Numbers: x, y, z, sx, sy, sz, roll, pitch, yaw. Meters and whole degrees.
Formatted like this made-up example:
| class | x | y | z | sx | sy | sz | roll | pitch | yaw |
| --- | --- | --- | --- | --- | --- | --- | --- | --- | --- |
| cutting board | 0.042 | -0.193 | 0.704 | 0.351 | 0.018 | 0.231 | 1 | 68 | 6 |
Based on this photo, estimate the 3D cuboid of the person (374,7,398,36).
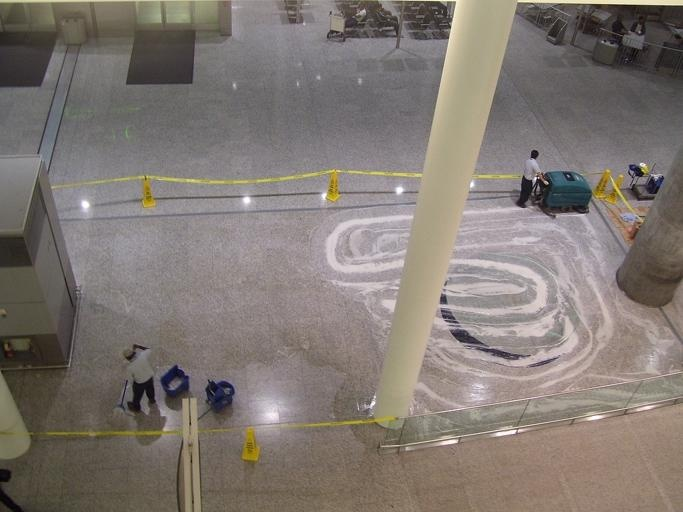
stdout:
| class | x | y | z | sx | sy | sz | roll | pitch | yaw |
| --- | --- | --- | --- | --- | --- | --- | --- | --- | --- |
| person | 1.998 | -10.436 | 22.652 | 0.757 | 0.812 | 1.456 | -24 | 43 | -35 |

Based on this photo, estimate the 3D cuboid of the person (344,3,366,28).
| class | x | y | z | sx | sy | sz | roll | pitch | yaw |
| --- | --- | --- | --- | --- | --- | --- | --- | --- | --- |
| person | 0.613 | -10.786 | 22.856 | 1.090 | 0.863 | 2.403 | 3 | 34 | -1 |

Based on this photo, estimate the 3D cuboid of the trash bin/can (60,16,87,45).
| class | x | y | z | sx | sy | sz | roll | pitch | yaw |
| --- | --- | --- | --- | --- | --- | --- | --- | --- | --- |
| trash bin/can | -10.313 | -8.690 | 19.649 | 0.851 | 0.954 | 0.382 | -10 | 36 | -20 |

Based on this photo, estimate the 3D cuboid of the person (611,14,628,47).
| class | x | y | z | sx | sy | sz | roll | pitch | yaw |
| --- | --- | --- | --- | --- | --- | --- | --- | --- | --- |
| person | 12.139 | -9.965 | 22.196 | 0.638 | 1.077 | 2.148 | 18 | 36 | 20 |
